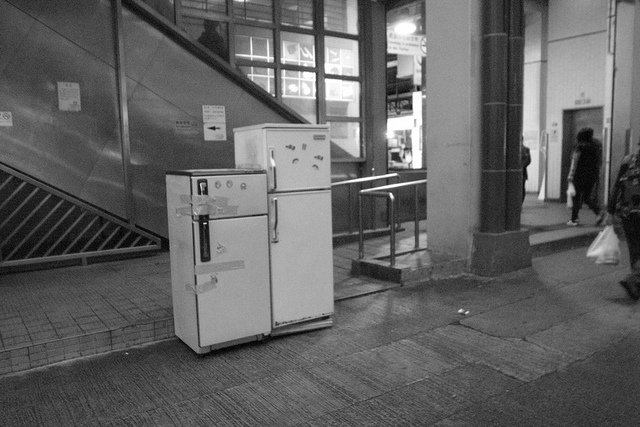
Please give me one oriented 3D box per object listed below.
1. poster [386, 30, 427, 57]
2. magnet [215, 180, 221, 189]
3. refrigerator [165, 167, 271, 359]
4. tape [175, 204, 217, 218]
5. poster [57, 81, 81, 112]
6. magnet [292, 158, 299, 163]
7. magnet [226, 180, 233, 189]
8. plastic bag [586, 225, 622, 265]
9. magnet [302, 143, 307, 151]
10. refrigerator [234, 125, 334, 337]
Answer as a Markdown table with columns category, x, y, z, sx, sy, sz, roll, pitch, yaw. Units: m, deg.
| category | x | y | z | sx | sy | sz | roll | pitch | yaw |
| --- | --- | --- | --- | --- | --- | --- | --- | --- | --- |
| poster | 2.225 | -4.363 | 12.409 | 1.493 | 0.541 | 0.093 | -10 | 11 | -36 |
| magnet | -1.234 | -0.365 | 5.852 | 0.072 | 0.090 | 0.019 | -5 | 15 | -22 |
| refrigerator | -1.257 | 0.576 | 6.110 | 1.286 | 2.230 | 0.817 | -4 | 14 | -15 |
| tape | -1.495 | -0.047 | 5.827 | 0.487 | 0.147 | 0.134 | 1 | 14 | 5 |
| poster | -4.442 | -2.073 | 8.526 | 0.520 | 0.662 | 0.074 | -6 | 11 | -29 |
| magnet | -0.313 | -0.701 | 6.317 | 0.082 | 0.056 | 0.016 | -8 | 16 | -32 |
| magnet | -1.106 | -0.369 | 5.914 | 0.076 | 0.075 | 0.018 | 16 | 11 | 1 |
| plastic bag | 5.135 | 0.532 | 8.723 | 0.519 | 0.785 | 0.385 | 9 | 16 | 32 |
| magnet | -0.206 | -0.883 | 6.347 | 0.057 | 0.056 | 0.103 | 1 | 1 | -6 |
| refrigerator | -0.408 | 0.160 | 6.779 | 1.029 | 2.622 | 1.392 | -3 | 5 | -27 |
